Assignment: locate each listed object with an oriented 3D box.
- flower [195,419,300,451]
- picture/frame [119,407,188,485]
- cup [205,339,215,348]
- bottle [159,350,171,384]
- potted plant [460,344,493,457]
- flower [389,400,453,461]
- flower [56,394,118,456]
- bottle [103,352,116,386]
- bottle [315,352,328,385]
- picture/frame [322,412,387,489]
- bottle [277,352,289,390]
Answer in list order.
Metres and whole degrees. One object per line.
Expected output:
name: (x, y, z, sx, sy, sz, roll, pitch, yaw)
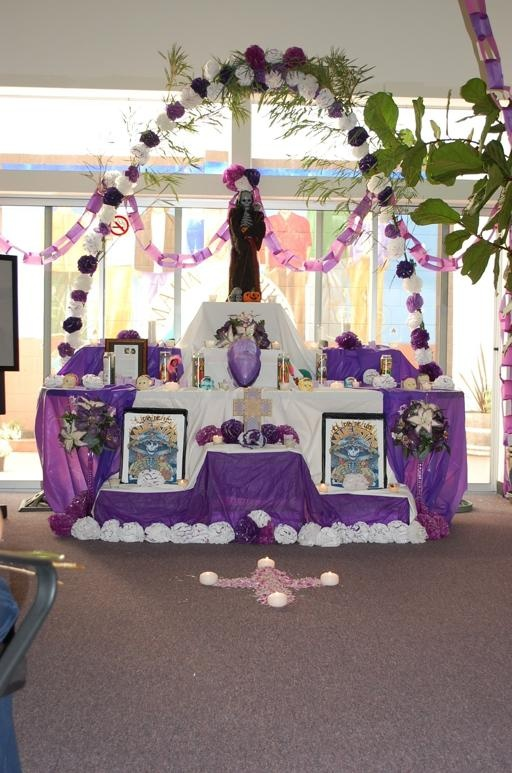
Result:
flower: (-0.052, 0.285, 3.975, 0.614, 0.165, 0.228, 1, 1, 0)
picture/frame: (-0.609, 0.370, 4.018, 0.456, 0.554, 0.056, 1, -17, -1)
cup: (-0.316, -0.294, 4.642, 0.054, 0.051, 0.033, -1, -27, 2)
bottle: (-0.620, -0.141, 4.599, 0.073, 0.234, 0.248, 1, 1, -8)
potted plant: (1.881, 0.137, 5.727, 0.262, 0.902, 0.144, 1, 1, 12)
flower: (1.002, 0.260, 4.062, 0.340, 0.340, 0.231, 1, 1, 15)
flower: (-0.978, 0.205, 3.916, 0.350, 0.334, 0.295, 0, 18, -9)
bottle: (-0.943, -0.122, 4.337, 0.076, 0.220, 0.161, 1, 1, -9)
bottle: (0.455, -0.121, 4.603, 0.061, 0.218, 0.153, 1, 1, -4)
picture/frame: (0.596, 0.402, 4.037, 0.465, 0.545, 0.040, 0, -22, 4)
bottle: (0.178, -0.100, 4.374, 0.075, 0.226, 0.216, 1, 1, 2)
